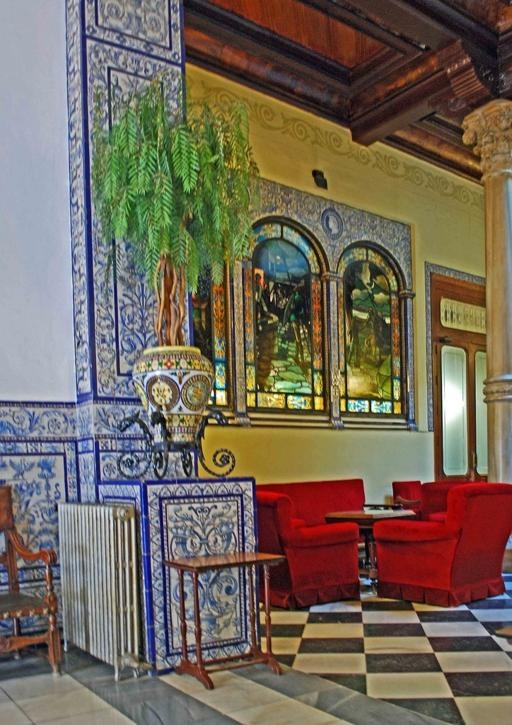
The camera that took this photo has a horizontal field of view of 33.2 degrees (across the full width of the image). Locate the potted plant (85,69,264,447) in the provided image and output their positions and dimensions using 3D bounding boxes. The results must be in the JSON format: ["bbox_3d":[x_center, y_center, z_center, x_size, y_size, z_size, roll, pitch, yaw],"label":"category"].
[{"bbox_3d":[-0.465,-0.624,4.897,0.932,2.163,0.865,0,-2,-13],"label":"potted plant"}]

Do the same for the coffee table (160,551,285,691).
[{"bbox_3d":[-0.209,1.364,4.543,0.652,0.666,0.380,2,-7,-39],"label":"coffee table"}]

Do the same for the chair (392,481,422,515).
[{"bbox_3d":[1.777,1.544,9.925,0.351,0.529,0.286,2,-8,-29],"label":"chair"}]

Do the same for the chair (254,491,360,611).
[{"bbox_3d":[0.327,1.429,7.084,0.882,1.036,0.800,0,-2,-27],"label":"chair"}]

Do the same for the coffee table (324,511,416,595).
[{"bbox_3d":[0.838,1.706,7.866,0.688,0.662,0.743,-11,-8,25],"label":"coffee table"}]
